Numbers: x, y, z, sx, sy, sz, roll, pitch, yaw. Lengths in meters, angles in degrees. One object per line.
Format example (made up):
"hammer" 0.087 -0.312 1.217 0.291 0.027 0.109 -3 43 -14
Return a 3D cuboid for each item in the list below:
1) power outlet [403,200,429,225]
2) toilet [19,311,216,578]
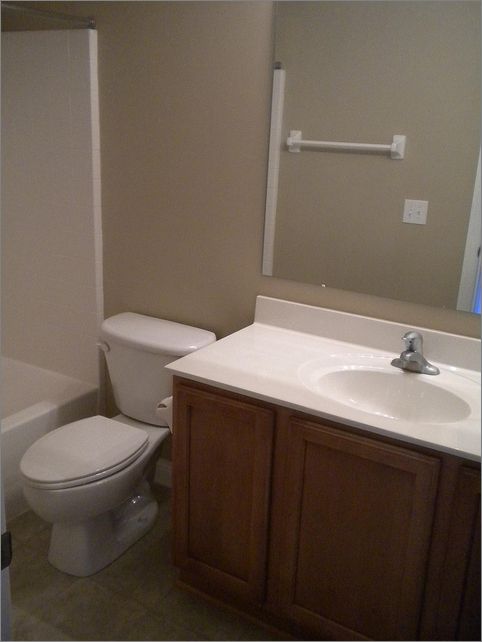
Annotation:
"power outlet" 0.496 -0.312 1.418 0.043 0.062 0.006 19 30 36
"toilet" -0.472 0.443 1.762 0.357 0.777 0.561 17 21 30
